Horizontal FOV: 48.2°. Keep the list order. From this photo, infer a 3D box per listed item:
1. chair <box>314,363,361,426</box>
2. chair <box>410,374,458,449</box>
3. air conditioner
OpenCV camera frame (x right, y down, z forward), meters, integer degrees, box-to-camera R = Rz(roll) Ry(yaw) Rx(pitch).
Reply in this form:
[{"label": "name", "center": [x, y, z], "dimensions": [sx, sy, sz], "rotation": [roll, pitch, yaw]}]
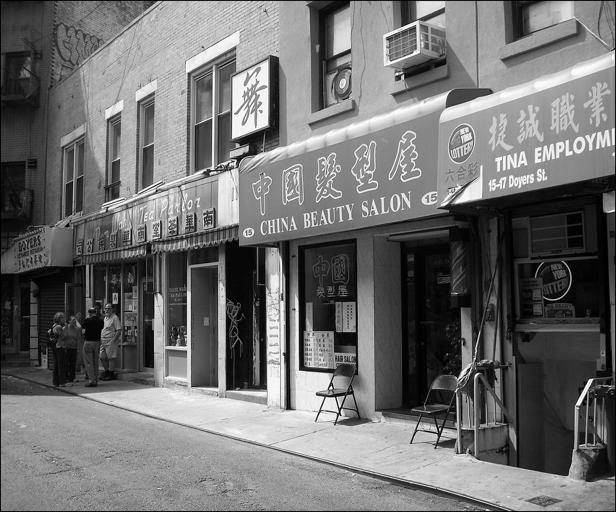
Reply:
[{"label": "chair", "center": [0.452, 2.362, 12.016], "dimensions": [0.634, 1.010, 0.849], "rotation": [0, -1, -43]}, {"label": "chair", "center": [2.099, 2.330, 10.756], "dimensions": [0.661, 1.507, 0.964], "rotation": [-5, -13, 42]}, {"label": "air conditioner", "center": [1.644, -3.310, 10.933], "dimensions": [0.475, 0.586, 0.799], "rotation": [-1, -2, -41]}]
